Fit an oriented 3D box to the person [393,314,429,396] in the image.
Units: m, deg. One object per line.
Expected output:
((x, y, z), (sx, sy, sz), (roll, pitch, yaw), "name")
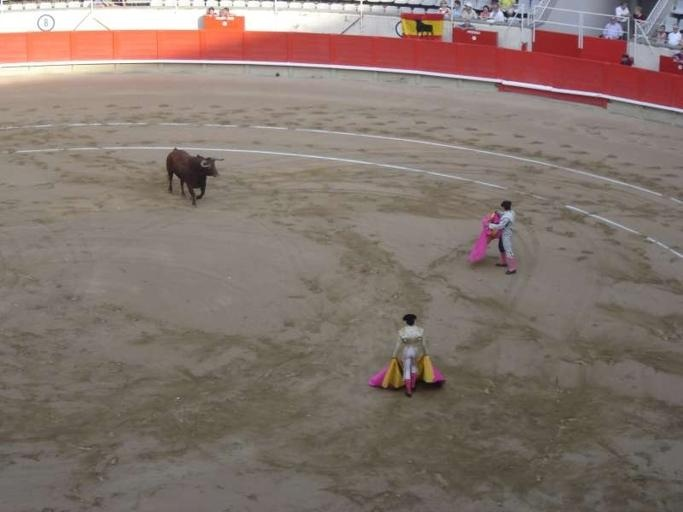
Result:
((1.114, 1.578, 13.133), (0.518, 1.225, 0.678), (11, 19, 15), "person")

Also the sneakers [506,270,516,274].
((3.502, 0.340, 16.527), (0.190, 0.075, 0.068), (0, 36, 0), "sneakers")

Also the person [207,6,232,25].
((-5.325, -10.361, 34.833), (1.066, 0.767, 1.054), (2, 19, -11), "person")

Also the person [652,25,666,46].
((11.273, -7.749, 28.460), (0.650, 0.299, 0.822), (3, 54, 6), "person")

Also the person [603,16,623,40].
((10.089, -8.391, 29.660), (0.715, 0.743, 1.803), (11, 19, 16), "person")
